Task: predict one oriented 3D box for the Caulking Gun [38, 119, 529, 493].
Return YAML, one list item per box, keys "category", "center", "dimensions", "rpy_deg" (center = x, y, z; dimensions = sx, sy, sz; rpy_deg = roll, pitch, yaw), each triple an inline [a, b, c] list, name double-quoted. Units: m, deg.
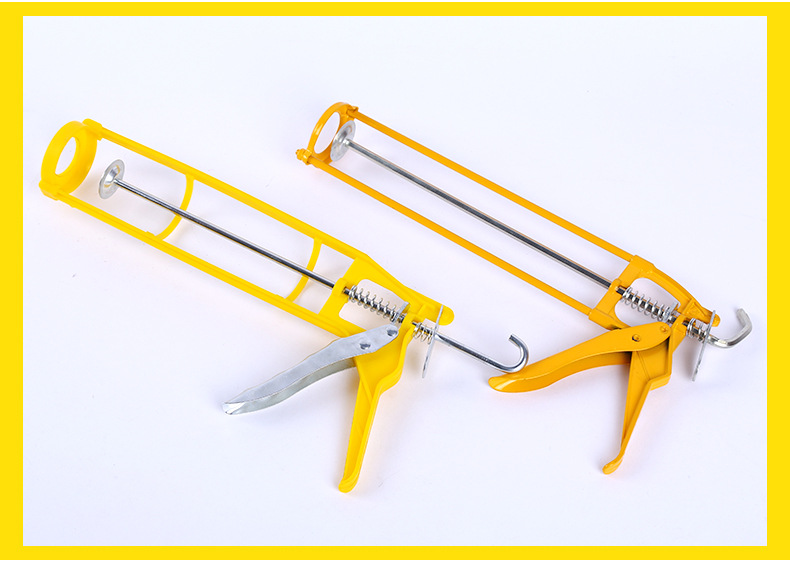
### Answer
- category: "Caulking Gun"
  center: [-0.556, 0.018, 3.338]
  dimensions: [2.001, 0.969, 0.226]
  rpy_deg: [32, -31, 6]
